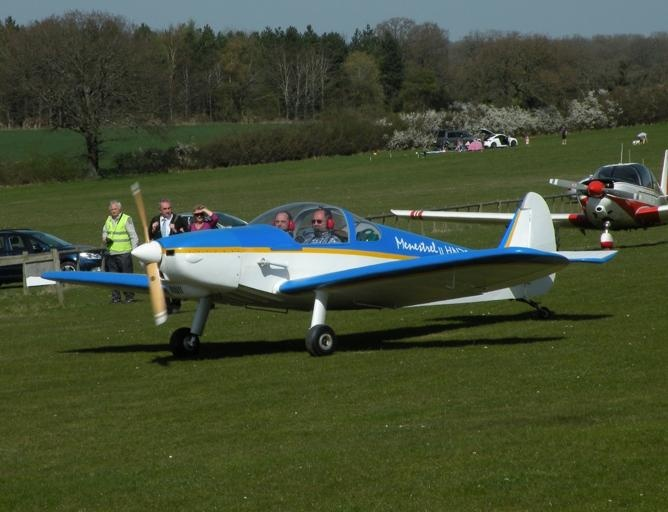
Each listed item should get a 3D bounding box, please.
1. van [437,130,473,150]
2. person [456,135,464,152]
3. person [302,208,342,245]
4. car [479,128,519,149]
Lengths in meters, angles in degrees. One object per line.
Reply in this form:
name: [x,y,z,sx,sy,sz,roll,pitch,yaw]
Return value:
van: [7.897,-7.677,74.441,2.094,1.014,1.263,-11,15,-23]
person: [8.053,-7.182,73.331,0.229,0.765,0.834,15,-10,-29]
person: [-0.187,-0.581,21.396,0.546,0.641,1.007,-2,5,-44]
car: [10.881,-7.546,74.073,2.759,1.052,1.779,-7,15,-26]
